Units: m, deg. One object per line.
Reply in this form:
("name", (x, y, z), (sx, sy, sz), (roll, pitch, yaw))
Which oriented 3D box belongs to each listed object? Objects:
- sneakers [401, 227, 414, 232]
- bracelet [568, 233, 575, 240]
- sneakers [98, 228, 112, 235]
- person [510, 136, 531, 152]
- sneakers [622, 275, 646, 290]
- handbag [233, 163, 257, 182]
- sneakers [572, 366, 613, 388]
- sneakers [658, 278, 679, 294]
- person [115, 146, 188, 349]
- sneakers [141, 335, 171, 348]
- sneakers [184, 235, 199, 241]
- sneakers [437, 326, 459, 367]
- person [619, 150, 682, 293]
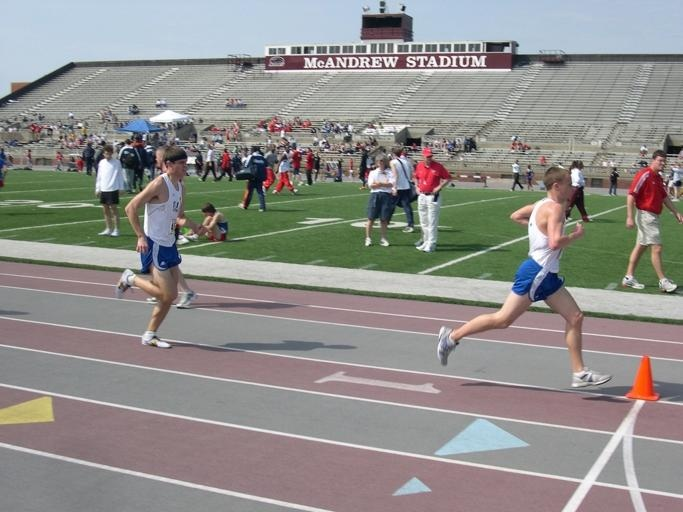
("sneakers", (1.533, -0.608, 17.087), (0.099, 0.103, 0.268), (-4, 8, -34))
("bracelet", (2.025, -0.175, 6.592), (0.065, 0.016, 0.068), (-18, 20, 44))
("sneakers", (-5.236, -0.534, 16.174), (0.416, 0.144, 0.136), (3, 10, 28))
("person", (11.903, -7.402, 49.387), (1.181, 0.923, 1.814), (3, 12, 10))
("sneakers", (4.485, 0.395, 11.310), (0.398, 0.158, 0.150), (7, 9, 25))
("handbag", (-2.683, -2.244, 20.096), (0.647, 0.294, 0.552), (-3, -13, 7))
("sneakers", (2.322, 1.137, 6.943), (0.382, 0.135, 0.156), (-3, 0, 9))
("sneakers", (4.901, 0.430, 10.974), (0.156, 0.150, 0.331), (-10, 6, -36))
("person", (-2.099, -0.118, 8.309), (0.787, 2.180, 0.894), (-3, 13, -15))
("sneakers", (-2.071, 0.933, 8.261), (0.384, 0.116, 0.128), (4, 6, 16))
("sneakers", (-3.065, -0.378, 14.999), (0.361, 0.114, 0.116), (4, 10, 22))
("sneakers", (1.003, 0.888, 7.248), (0.262, 0.384, 0.166), (7, 11, 31))
("person", (4.626, -0.512, 10.975), (0.792, 2.089, 1.141), (5, 13, 19))
